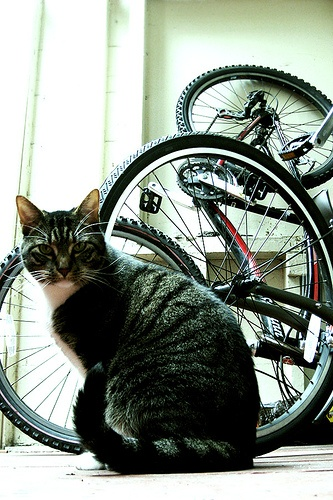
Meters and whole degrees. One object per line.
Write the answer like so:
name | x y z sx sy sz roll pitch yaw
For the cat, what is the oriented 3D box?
cat | -0.090 0.264 1.378 0.668 0.697 0.472 -1 -20 7
